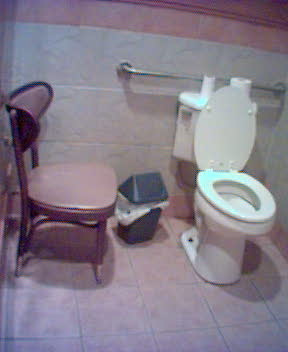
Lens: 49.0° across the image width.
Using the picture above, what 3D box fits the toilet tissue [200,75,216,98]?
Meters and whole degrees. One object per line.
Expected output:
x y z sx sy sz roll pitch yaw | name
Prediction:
0.337 -0.474 1.676 0.075 0.103 0.097 12 25 7 | toilet tissue

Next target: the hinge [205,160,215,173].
0.341 -0.052 1.650 0.036 0.064 0.053 -1 20 -7 | hinge

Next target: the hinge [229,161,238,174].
0.486 -0.046 1.685 0.058 0.053 0.042 3 26 -12 | hinge

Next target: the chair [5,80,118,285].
-0.396 0.030 1.463 0.564 0.887 0.548 2 40 -10 | chair

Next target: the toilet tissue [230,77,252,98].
0.516 -0.485 1.718 0.128 0.114 0.076 4 29 4 | toilet tissue
